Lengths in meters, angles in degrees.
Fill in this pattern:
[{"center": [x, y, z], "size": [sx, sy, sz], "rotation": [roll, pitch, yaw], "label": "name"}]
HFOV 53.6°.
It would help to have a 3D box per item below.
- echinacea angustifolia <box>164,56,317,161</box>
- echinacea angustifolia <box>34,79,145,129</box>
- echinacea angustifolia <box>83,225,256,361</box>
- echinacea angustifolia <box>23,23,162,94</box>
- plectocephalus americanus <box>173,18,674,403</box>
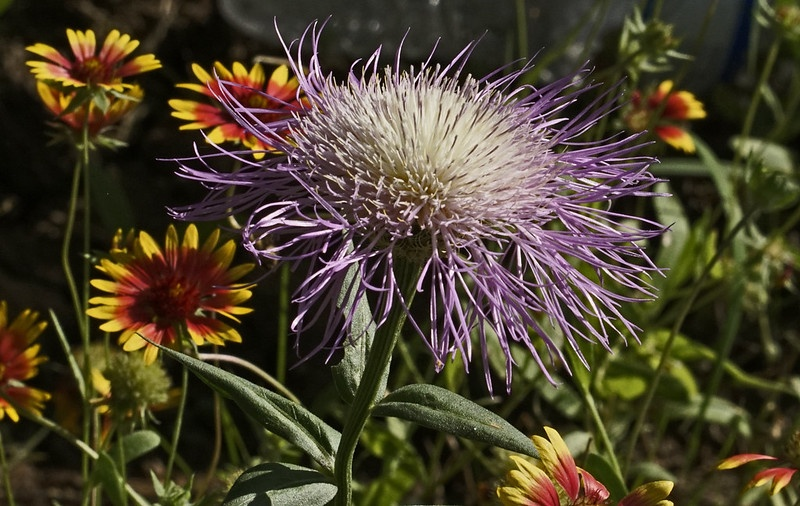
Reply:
[{"center": [-0.318, -0.272, 1.525], "size": [0.226, 0.066, 0.235], "rotation": [14, 49, -1], "label": "echinacea angustifolia"}, {"center": [-0.594, -0.270, 1.437], "size": [0.181, 0.085, 0.180], "rotation": [-9, 9, -38], "label": "echinacea angustifolia"}, {"center": [-0.400, 0.093, 1.395], "size": [0.270, 0.078, 0.287], "rotation": [-4, 20, 4], "label": "echinacea angustifolia"}, {"center": [-0.551, -0.337, 1.414], "size": [0.174, 0.059, 0.169], "rotation": [-18, -11, 40], "label": "echinacea angustifolia"}, {"center": [-0.054, -0.055, 1.565], "size": [0.821, 0.407, 0.831], "rotation": [-13, 50, -32], "label": "plectocephalus americanus"}]
